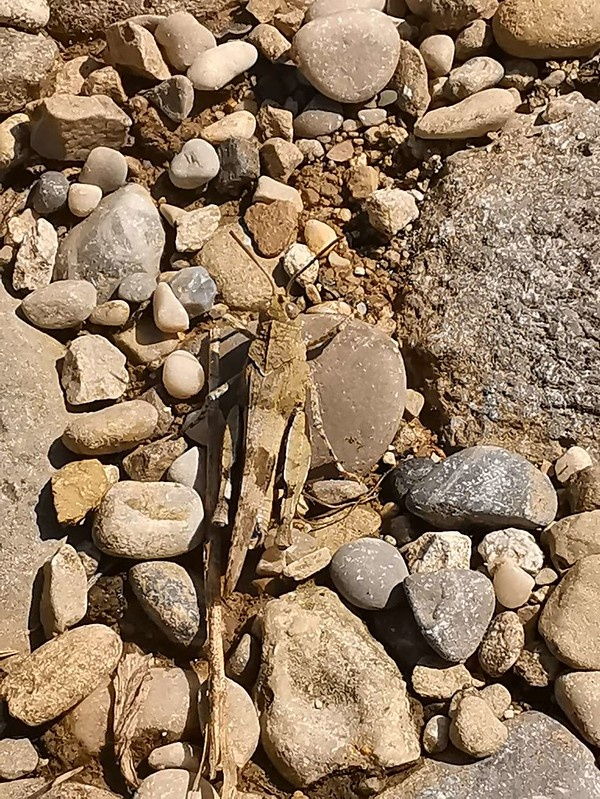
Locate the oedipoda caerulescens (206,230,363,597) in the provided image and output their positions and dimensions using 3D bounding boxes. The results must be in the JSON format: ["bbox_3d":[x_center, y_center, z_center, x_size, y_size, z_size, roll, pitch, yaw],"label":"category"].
[{"bbox_3d":[-0.098,0.095,2.670,0.348,0.159,0.864,7,90,15],"label":"oedipoda caerulescens"}]
